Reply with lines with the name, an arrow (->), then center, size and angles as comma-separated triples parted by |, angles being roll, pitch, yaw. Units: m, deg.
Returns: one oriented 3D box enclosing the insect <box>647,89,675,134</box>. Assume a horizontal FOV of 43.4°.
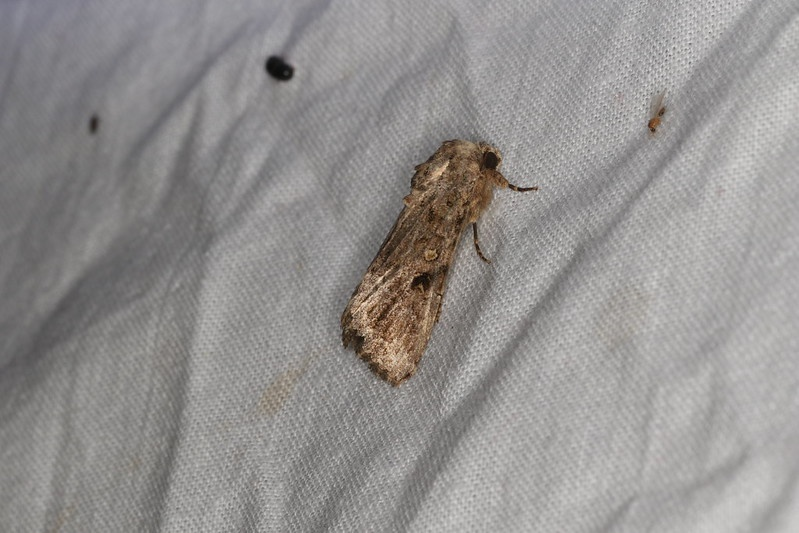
insect -> 1.200, -0.728, 4.660 | 0.111, 0.175, 0.052 | 19, 15, 32
